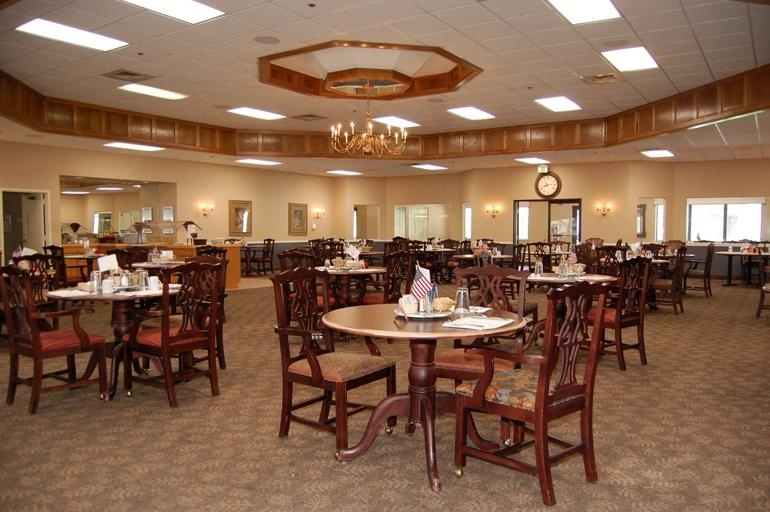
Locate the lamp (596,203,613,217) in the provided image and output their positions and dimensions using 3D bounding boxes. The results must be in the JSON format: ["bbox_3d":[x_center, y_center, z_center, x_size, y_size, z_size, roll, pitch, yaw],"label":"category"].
[{"bbox_3d":[6.644,-1.366,15.546,0.522,0.396,0.151,0,1,32],"label":"lamp"}]

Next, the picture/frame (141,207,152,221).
[{"bbox_3d":[-7.474,-1.296,16.177,0.591,0.533,0.093,2,1,26],"label":"picture/frame"}]

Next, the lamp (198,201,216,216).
[{"bbox_3d":[-5.537,-1.434,15.905,0.194,0.443,0.575,3,5,38],"label":"lamp"}]

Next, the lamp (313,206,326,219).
[{"bbox_3d":[-2.453,-1.578,19.180,0.608,0.482,0.210,-2,3,-45],"label":"lamp"}]

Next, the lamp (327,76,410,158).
[{"bbox_3d":[-0.373,-2.857,11.544,1.124,0.940,1.116,-12,-28,26],"label":"lamp"}]

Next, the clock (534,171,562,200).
[{"bbox_3d":[5.148,-2.197,16.143,1.017,0.939,0.190,-9,-5,35],"label":"clock"}]

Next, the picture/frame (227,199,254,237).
[{"bbox_3d":[-4.733,-1.206,16.884,0.213,1.184,0.907,7,12,31],"label":"picture/frame"}]

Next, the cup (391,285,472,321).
[{"bbox_3d":[0.401,0.395,4.295,0.656,0.236,0.313,1,9,3],"label":"cup"}]
